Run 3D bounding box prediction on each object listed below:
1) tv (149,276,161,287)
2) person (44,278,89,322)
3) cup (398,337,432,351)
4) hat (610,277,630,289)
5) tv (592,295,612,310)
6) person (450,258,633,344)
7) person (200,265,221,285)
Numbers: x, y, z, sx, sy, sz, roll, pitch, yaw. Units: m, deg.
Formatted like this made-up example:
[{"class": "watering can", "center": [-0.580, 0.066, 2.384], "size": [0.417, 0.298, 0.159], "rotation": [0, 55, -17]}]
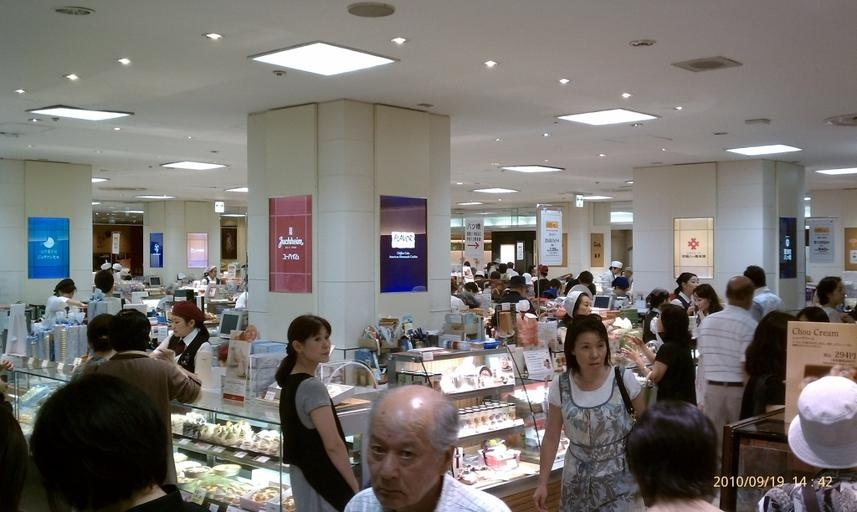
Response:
[{"class": "tv", "center": [-10.148, 0.967, 21.118], "size": [0.355, 0.337, 0.120], "rotation": [5, -40, -28]}, {"class": "person", "center": [-6.528, 0.998, 10.144], "size": [0.699, 1.103, 0.727], "rotation": [5, 0, -28]}, {"class": "cup", "center": [-0.225, 1.157, 7.423], "size": [0.449, 0.151, 0.336], "rotation": [-3, -3, 35]}, {"class": "hat", "center": [4.303, 0.617, 12.793], "size": [0.387, 0.248, 0.566], "rotation": [8, 11, 23]}, {"class": "tv", "center": [3.575, 0.970, 11.667], "size": [0.449, 0.314, 0.046], "rotation": [5, -17, 42]}, {"class": "person", "center": [1.869, 0.673, 7.616], "size": [1.211, 0.730, 1.252], "rotation": [4, -5, -39]}, {"class": "person", "center": [-8.156, 0.722, 21.285], "size": [0.440, 0.699, 0.641], "rotation": [-7, 3, -9]}]
